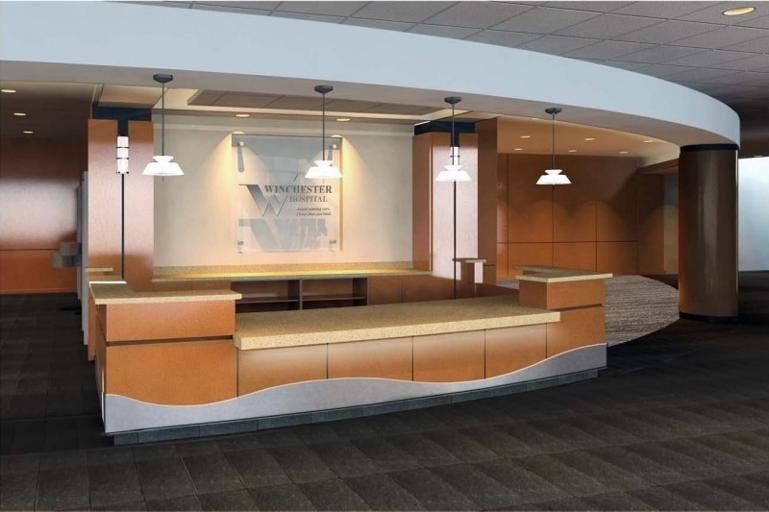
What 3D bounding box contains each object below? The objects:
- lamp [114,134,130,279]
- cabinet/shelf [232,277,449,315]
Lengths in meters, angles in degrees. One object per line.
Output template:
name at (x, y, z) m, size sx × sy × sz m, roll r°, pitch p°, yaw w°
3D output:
lamp at (-3.982, -0.955, 8.426) m, size 0.226 × 1.863 × 0.186 m, roll 14°, pitch 30°, yaw 0°
cabinet/shelf at (-0.772, 0.608, 9.908) m, size 3.761 × 0.622 × 0.651 m, roll -1°, pitch 8°, yaw -7°
